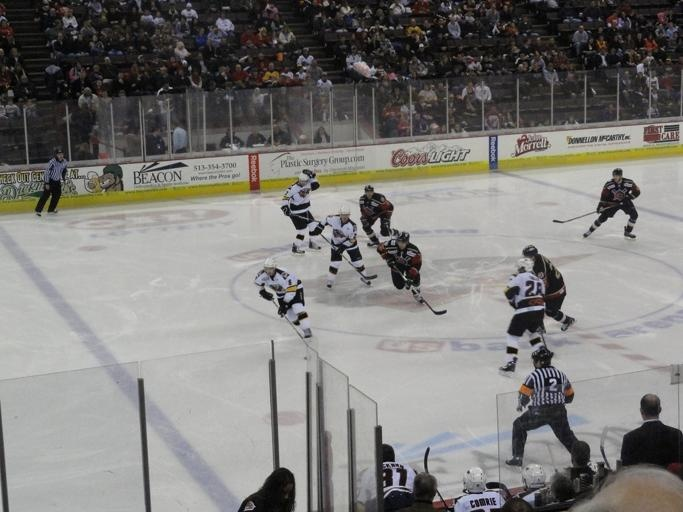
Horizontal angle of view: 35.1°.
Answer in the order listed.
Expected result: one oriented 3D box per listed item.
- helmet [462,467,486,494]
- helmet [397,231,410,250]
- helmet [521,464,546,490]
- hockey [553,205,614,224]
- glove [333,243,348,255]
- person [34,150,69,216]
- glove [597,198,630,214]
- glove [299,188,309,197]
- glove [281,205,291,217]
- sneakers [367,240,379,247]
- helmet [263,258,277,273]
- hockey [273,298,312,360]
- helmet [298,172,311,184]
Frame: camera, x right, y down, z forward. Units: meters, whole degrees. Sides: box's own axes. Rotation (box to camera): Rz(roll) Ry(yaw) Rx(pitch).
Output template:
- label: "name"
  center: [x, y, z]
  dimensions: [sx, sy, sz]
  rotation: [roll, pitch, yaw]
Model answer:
- label: "helmet"
  center: [1.414, 2.457, 11.875]
  dimensions: [0.247, 0.258, 0.291]
  rotation: [2, 14, 1]
- label: "helmet"
  center: [0.998, -0.256, 17.973]
  dimensions: [0.221, 0.289, 0.187]
  rotation: [-7, 7, 1]
- label: "helmet"
  center: [2.084, 2.428, 11.929]
  dimensions: [0.252, 0.242, 0.280]
  rotation: [0, 10, -8]
- label: "hockey"
  center: [4.858, -0.785, 22.090]
  dimensions: [2.159, 0.156, 0.277]
  rotation: [-12, -25, -45]
- label: "glove"
  center: [-0.059, -0.130, 18.797]
  dimensions: [0.197, 0.168, 0.062]
  rotation: [23, 4, -20]
- label: "person"
  center: [-6.447, -1.638, 23.971]
  dimensions: [0.851, 1.411, 0.926]
  rotation: [-9, 7, -13]
- label: "glove"
  center: [5.068, -0.935, 20.611]
  dimensions: [0.782, 0.145, 0.291]
  rotation: [-8, -15, -33]
- label: "glove"
  center: [-0.749, -1.241, 20.877]
  dimensions: [0.166, 0.129, 0.022]
  rotation: [22, -1, -32]
- label: "glove"
  center: [-1.106, -0.870, 20.803]
  dimensions: [0.150, 0.186, 0.184]
  rotation: [-24, 19, -22]
- label: "sneakers"
  center: [0.605, -0.259, 21.294]
  dimensions: [0.279, 0.114, 0.088]
  rotation: [0, 18, 3]
- label: "helmet"
  center: [-1.099, 0.137, 16.416]
  dimensions: [0.188, 0.186, 0.207]
  rotation: [1, 31, -7]
- label: "hockey"
  center: [-0.700, 1.018, 15.033]
  dimensions: [0.115, 0.190, 1.329]
  rotation: [-10, 27, -20]
- label: "helmet"
  center: [-0.734, -1.504, 20.882]
  dimensions: [0.222, 0.246, 0.178]
  rotation: [-9, 7, -20]
